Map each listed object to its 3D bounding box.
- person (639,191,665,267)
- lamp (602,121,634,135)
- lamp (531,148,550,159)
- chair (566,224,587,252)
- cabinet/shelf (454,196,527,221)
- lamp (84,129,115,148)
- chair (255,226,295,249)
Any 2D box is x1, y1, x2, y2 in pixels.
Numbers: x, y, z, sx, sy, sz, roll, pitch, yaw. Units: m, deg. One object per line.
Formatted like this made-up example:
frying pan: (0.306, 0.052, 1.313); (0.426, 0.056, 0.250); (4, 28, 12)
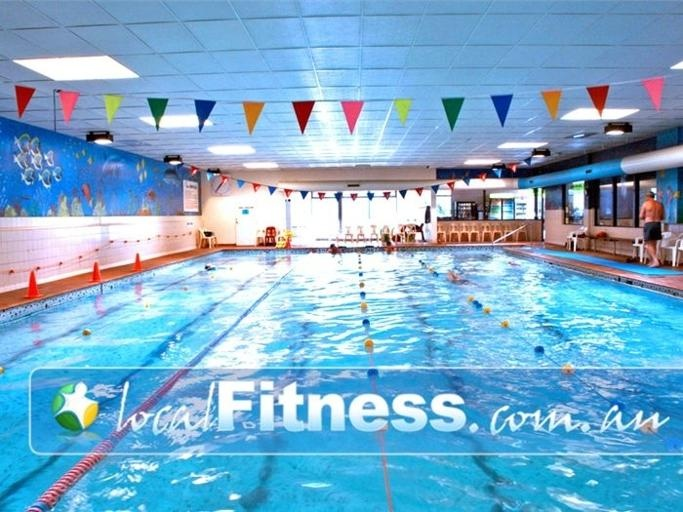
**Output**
person: (6.266, -0.544, 8.563); (0.398, 1.447, 1.085); (6, 12, 36)
lamp: (5.297, -2.444, 8.140); (0.408, 0.213, 0.602); (5, 11, 35)
lamp: (5.009, -2.558, 10.688); (0.373, 0.185, 0.330); (0, 0, 7)
chair: (6.707, -0.504, 12.105); (0.519, 0.637, 1.131); (4, 10, 28)
cabinet/shelf: (5.712, -1.806, 16.231); (2.620, 0.777, 0.587); (-2, 10, -10)
lamp: (-4.475, -2.201, 7.971); (0.469, 0.207, 0.449); (1, 6, 7)
chair: (-2.356, -0.647, 14.971); (1.028, 0.490, 0.310); (-1, -1, 3)
